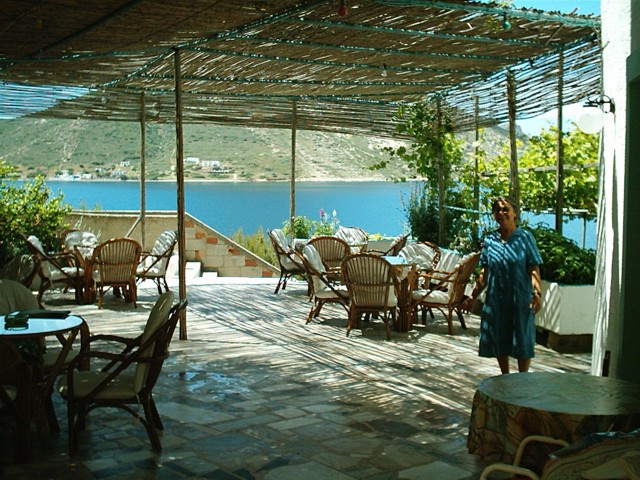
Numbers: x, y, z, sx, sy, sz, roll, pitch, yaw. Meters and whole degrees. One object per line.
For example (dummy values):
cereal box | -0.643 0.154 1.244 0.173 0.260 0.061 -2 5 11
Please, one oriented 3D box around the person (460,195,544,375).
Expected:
person | 1.519 0.379 4.422 0.539 1.461 0.409 3 6 17

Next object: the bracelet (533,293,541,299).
bracelet | 1.702 0.430 4.224 0.051 0.047 0.049 -1 4 16
